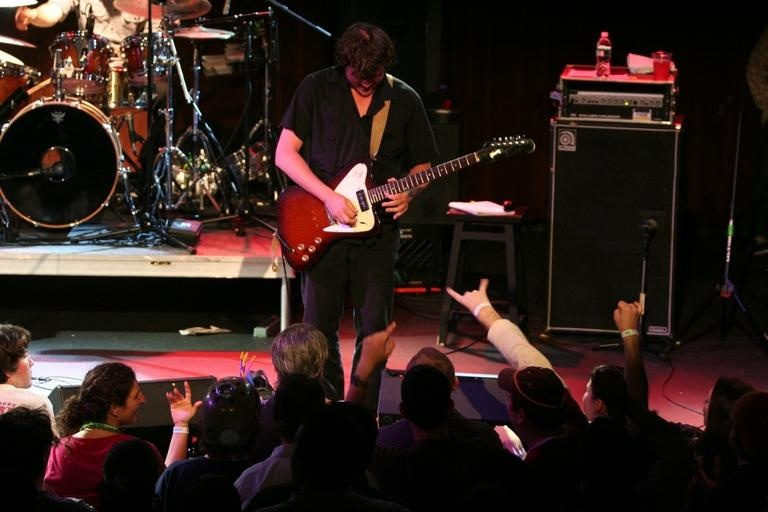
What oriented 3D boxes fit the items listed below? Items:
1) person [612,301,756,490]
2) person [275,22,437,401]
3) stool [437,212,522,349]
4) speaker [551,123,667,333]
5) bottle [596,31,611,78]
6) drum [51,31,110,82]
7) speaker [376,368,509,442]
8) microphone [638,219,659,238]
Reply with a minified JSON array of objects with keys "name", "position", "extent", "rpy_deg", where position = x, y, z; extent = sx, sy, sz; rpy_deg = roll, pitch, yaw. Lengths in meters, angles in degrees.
[{"name":"person","position":[1.336,0.686,3.049],"extent":[0.343,1.234,0.420],"rpy_deg":[-14,6,24]},{"name":"person","position":[-0.208,-0.157,4.130],"extent":[0.919,2.366,0.779],"rpy_deg":[5,18,5]},{"name":"stool","position":[0.906,0.087,5.982],"extent":[0.963,1.367,0.970],"rpy_deg":[3,8,13]},{"name":"speaker","position":[1.977,-0.310,5.844],"extent":[1.157,1.843,1.214],"rpy_deg":[4,11,35]},{"name":"bottle","position":[1.701,-1.554,5.347],"extent":[0.101,0.371,0.250],"rpy_deg":[2,3,21]},{"name":"drum","position":[-2.522,-1.652,5.882],"extent":[0.575,0.345,0.552],"rpy_deg":[4,-2,0]},{"name":"speaker","position":[0.378,0.682,3.599],"extent":[0.689,0.453,0.377],"rpy_deg":[-3,30,22]},{"name":"microphone","position":[1.996,-0.210,5.204],"extent":[0.128,0.150,0.255],"rpy_deg":[2,3,22]}]
